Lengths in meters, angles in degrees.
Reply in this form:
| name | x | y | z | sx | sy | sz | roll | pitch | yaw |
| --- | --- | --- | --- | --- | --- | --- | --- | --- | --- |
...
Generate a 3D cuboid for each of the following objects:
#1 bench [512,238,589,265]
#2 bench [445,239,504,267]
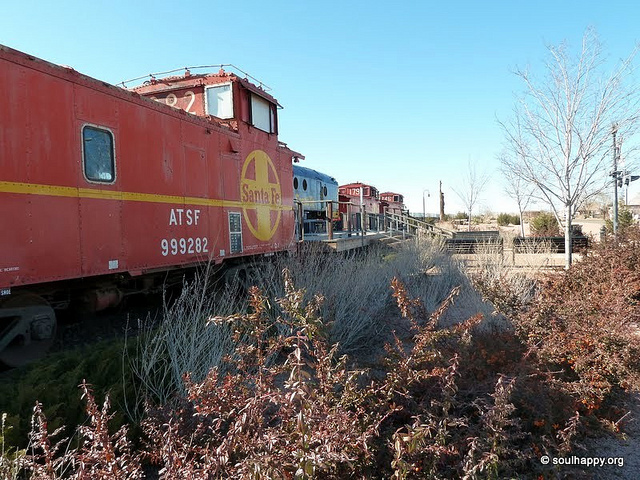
| name | x | y | z | sx | sy | sz | roll | pitch | yaw |
| --- | --- | --- | --- | --- | --- | --- | --- | --- | --- |
| bench | 7.026 | 0.278 | 14.824 | 2.068 | 0.711 | 4.445 | 1 | 4 | 29 |
| bench | 4.746 | 0.143 | 15.130 | 1.449 | 0.572 | 7.028 | 0 | 4 | 16 |
